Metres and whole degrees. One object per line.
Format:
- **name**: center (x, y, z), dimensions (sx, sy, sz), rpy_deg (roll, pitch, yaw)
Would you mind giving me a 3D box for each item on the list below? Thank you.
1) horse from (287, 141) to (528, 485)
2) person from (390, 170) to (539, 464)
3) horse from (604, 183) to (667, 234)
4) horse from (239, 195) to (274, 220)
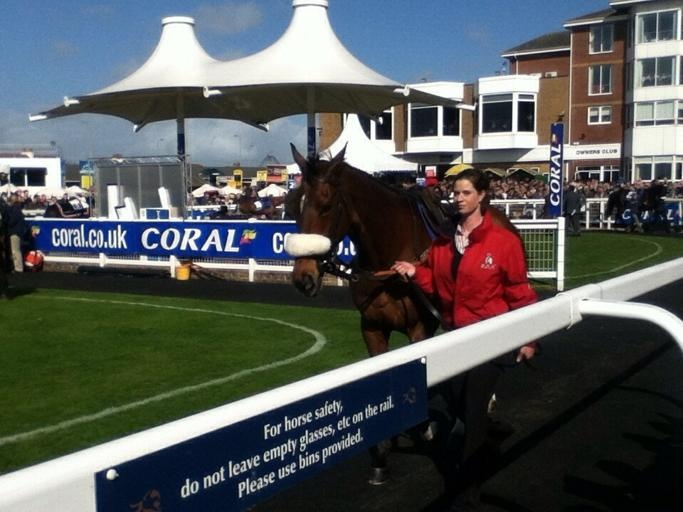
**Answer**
- **horse**: center (0.685, 0.420, 6.447), dimensions (0.689, 2.163, 2.877), rpy_deg (-4, -4, 38)
- **person**: center (0.938, 0.288, 5.625), dimensions (0.609, 1.829, 1.375), rpy_deg (12, 26, 32)
- **horse**: center (9.650, -1.572, 27.473), dimensions (1.055, 1.138, 1.876), rpy_deg (0, 9, 1)
- **horse**: center (-2.282, -1.379, 22.865), dimensions (0.900, 0.535, 4.057), rpy_deg (-9, 8, -6)
